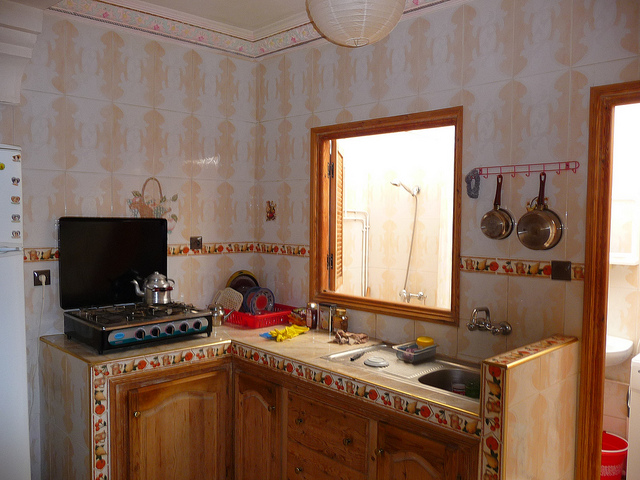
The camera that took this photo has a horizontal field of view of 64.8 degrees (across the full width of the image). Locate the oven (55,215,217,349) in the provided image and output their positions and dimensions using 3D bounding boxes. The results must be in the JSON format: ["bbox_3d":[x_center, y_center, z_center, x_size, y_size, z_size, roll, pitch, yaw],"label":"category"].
[{"bbox_3d":[-1.293,0.236,3.550,0.581,0.943,0.824,-3,-3,34],"label":"oven"}]

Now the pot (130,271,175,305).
[{"bbox_3d":[-1.204,0.355,3.692,0.276,0.252,0.184,0,3,-40],"label":"pot"}]

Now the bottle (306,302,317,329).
[{"bbox_3d":[-0.068,0.587,3.952,0.091,0.202,0.086,-3,12,1],"label":"bottle"}]

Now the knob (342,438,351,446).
[{"bbox_3d":[0.154,1.181,2.951,0.051,0.050,0.016,3,13,28],"label":"knob"}]

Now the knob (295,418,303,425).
[{"bbox_3d":[-0.138,1.145,3.179,0.062,0.044,0.015,7,15,39],"label":"knob"}]

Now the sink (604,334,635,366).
[{"bbox_3d":[2.380,0.879,4.002,0.295,0.170,0.415,-4,-1,40],"label":"sink"}]

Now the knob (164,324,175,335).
[{"bbox_3d":[-1.015,0.599,3.395,0.043,0.071,0.023,5,2,-12],"label":"knob"}]

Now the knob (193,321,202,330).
[{"bbox_3d":[-0.856,0.597,3.523,0.038,0.059,0.019,3,5,-27],"label":"knob"}]

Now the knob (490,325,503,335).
[{"bbox_3d":[1.090,0.554,3.136,0.066,0.058,0.064,-4,12,-4],"label":"knob"}]

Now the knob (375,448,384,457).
[{"bbox_3d":[0.328,1.184,2.824,0.039,0.045,0.014,-5,5,26],"label":"knob"}]

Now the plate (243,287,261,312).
[{"bbox_3d":[-0.555,0.475,4.087,0.045,0.161,0.146,4,-5,26],"label":"plate"}]

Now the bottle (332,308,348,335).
[{"bbox_3d":[0.147,0.610,3.811,0.113,0.188,0.124,-3,12,1],"label":"bottle"}]

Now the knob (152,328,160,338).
[{"bbox_3d":[-1.089,0.613,3.331,0.037,0.052,0.019,3,4,-12],"label":"knob"}]

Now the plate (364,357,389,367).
[{"bbox_3d":[0.347,0.764,3.145,0.142,0.022,0.108,-6,13,-9],"label":"plate"}]

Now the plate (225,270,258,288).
[{"bbox_3d":[-0.688,0.334,4.365,0.109,0.139,0.346,6,16,37],"label":"plate"}]

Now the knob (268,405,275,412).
[{"bbox_3d":[-0.324,1.112,3.332,0.029,0.011,0.041,1,1,-43],"label":"knob"}]

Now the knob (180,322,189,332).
[{"bbox_3d":[-0.934,0.597,3.467,0.039,0.064,0.019,1,2,-31],"label":"knob"}]

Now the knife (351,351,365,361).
[{"bbox_3d":[0.245,0.749,3.308,0.024,0.030,0.161,-4,13,28],"label":"knife"}]

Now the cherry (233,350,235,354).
[{"bbox_3d":[-0.612,0.789,3.565,0.015,0.025,0.005,5,14,34],"label":"cherry"}]
